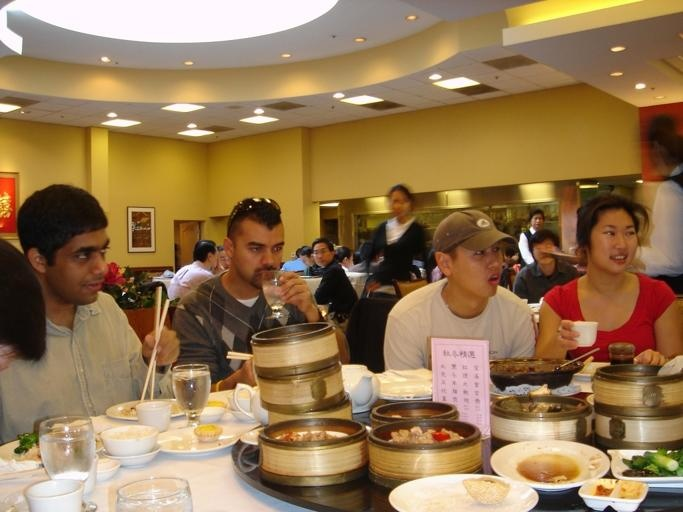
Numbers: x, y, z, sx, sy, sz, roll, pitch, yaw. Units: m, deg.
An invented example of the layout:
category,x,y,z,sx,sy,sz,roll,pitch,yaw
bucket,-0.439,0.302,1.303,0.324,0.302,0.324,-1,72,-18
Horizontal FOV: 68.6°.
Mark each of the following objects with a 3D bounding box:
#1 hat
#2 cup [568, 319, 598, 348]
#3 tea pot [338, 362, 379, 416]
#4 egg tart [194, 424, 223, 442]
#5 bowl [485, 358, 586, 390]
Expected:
category,x,y,z,sx,sy,sz,roll,pitch,yaw
hat,0.600,-0.100,2.411,0.307,0.143,0.223,-14,-3,39
cup,1.019,0.336,2.157,0.122,0.090,0.109,9,-9,-30
tea pot,0.054,0.439,1.627,0.178,0.131,0.125,4,-7,-21
egg tart,-0.393,0.516,1.468,0.050,0.018,0.052,-1,-4,41
bowl,0.623,0.413,1.751,0.300,0.060,0.288,-2,-3,0
